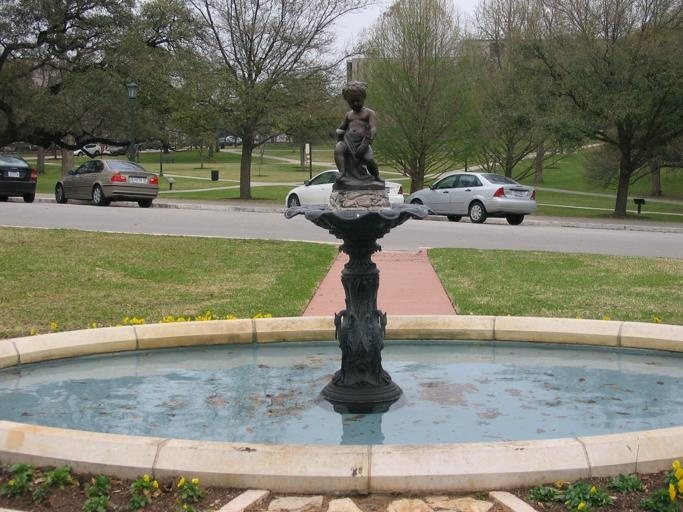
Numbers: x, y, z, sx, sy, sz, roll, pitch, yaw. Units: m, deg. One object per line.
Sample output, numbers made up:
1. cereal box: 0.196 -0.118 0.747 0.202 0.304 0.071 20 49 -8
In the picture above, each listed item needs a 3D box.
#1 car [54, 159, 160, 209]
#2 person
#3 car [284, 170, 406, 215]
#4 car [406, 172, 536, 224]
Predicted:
1. car: -8.609 -2.670 30.002 4.045 1.305 1.756 7 7 43
2. person: 0.182 -1.381 9.197 0.489 1.077 0.917 1 8 0
3. car: -0.148 -2.082 27.116 4.106 1.489 1.904 5 7 31
4. car: 4.300 -1.860 27.117 3.715 1.642 1.552 8 11 42
